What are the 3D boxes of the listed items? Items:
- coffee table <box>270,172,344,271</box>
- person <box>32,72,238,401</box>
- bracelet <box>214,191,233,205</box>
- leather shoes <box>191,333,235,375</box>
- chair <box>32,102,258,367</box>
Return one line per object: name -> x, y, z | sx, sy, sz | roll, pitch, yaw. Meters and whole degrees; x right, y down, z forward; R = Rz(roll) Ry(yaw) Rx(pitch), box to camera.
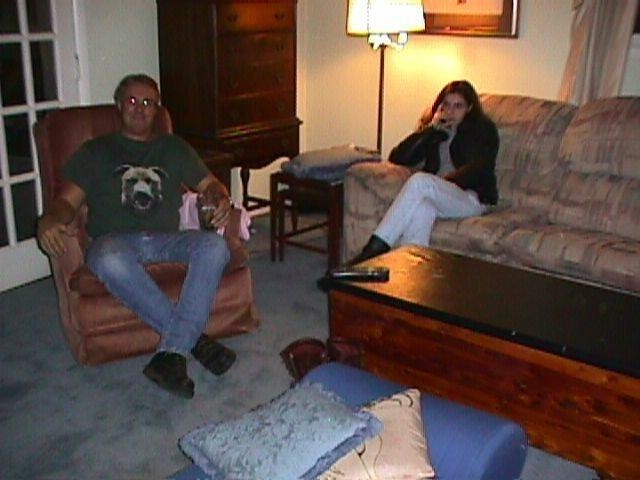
coffee table -> -0.119, -0.157, 3.739 | 0.599, 0.517, 0.641 | 2, 10, 33
person -> -0.813, -0.097, 2.568 | 0.843, 1.608, 0.881 | -5, -5, 37
bracelet -> -0.483, -0.211, 2.724 | 0.029, 0.062, 0.102 | -16, 28, -33
leather shoes -> -0.525, 0.512, 2.552 | 0.276, 0.105, 0.122 | 36, 2, 26
chair -> -0.965, -0.116, 2.903 | 0.890, 1.296, 1.097 | -9, 15, -24
